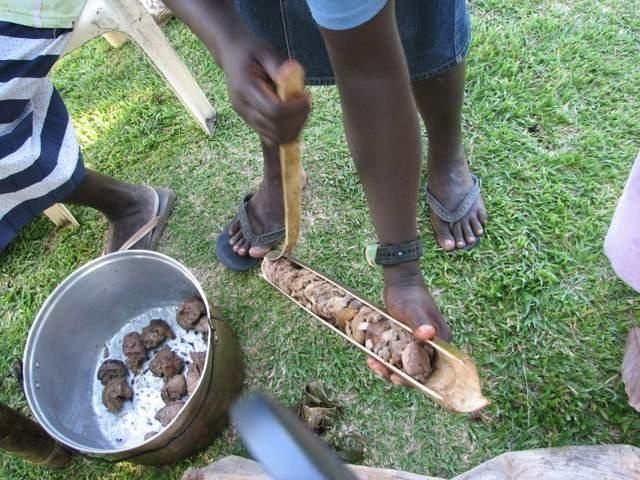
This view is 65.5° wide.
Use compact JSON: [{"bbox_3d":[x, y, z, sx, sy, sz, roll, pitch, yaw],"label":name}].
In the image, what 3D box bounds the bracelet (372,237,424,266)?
[{"bbox_3d":[0.285,0.039,1.799,0.119,0.052,0.105,-6,19,9],"label":"bracelet"}]
